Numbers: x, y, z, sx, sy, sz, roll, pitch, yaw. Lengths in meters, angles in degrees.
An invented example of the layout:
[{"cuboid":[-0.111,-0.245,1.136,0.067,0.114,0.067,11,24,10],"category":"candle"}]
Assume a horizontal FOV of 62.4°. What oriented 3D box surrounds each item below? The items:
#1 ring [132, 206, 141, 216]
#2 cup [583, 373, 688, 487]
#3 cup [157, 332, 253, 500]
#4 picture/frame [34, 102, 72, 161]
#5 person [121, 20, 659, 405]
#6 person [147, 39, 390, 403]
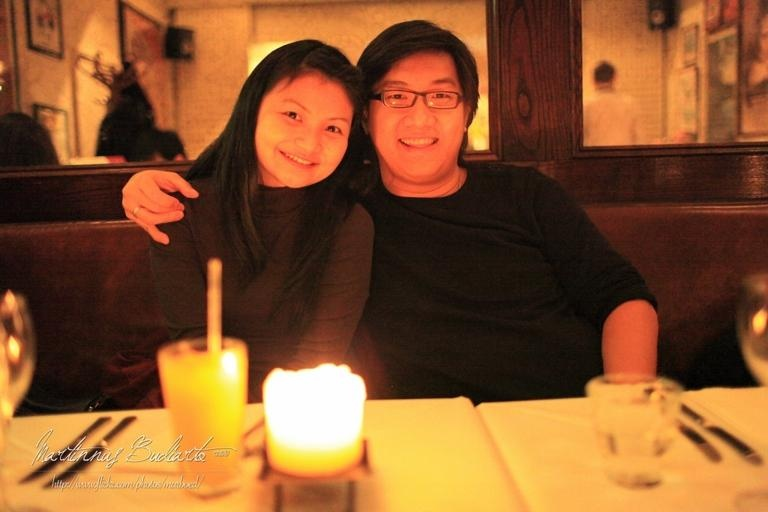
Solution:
[{"cuboid":[-0.779,-0.143,2.002,0.022,0.024,0.027,5,4,-1],"category":"ring"},{"cuboid":[0.526,0.365,1.380,0.218,0.183,0.193,-1,-1,-32],"category":"cup"},{"cuboid":[-0.355,0.314,1.253,0.161,0.285,0.122,0,9,-15],"category":"cup"},{"cuboid":[-1.126,-0.420,2.157,0.126,0.194,0.019,3,9,10],"category":"picture/frame"},{"cuboid":[-0.034,-0.135,2.050,1.357,0.943,0.726,-12,1,-10],"category":"person"},{"cuboid":[-0.387,-0.135,2.057,0.703,1.120,0.289,0,9,-14],"category":"person"}]
